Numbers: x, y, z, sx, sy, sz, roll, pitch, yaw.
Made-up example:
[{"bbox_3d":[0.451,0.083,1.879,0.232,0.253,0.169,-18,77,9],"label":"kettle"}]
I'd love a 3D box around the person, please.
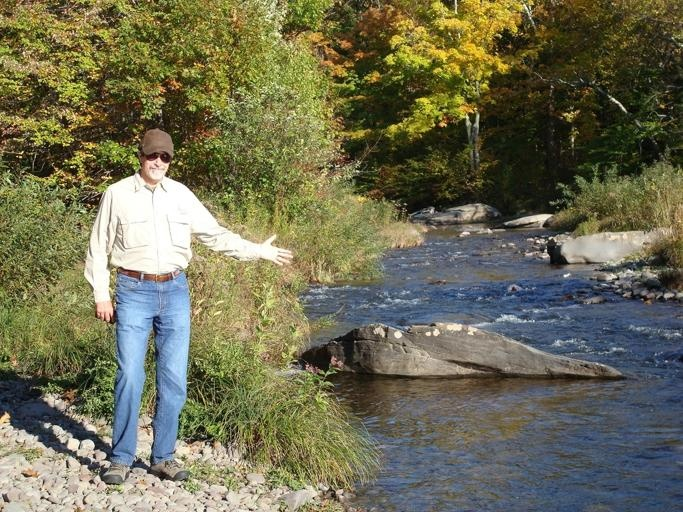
[{"bbox_3d":[-1.719,0.436,6.595,1.617,3.274,0.929,-10,12,-27],"label":"person"}]

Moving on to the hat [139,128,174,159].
[{"bbox_3d":[-1.768,-1.095,6.571,0.243,0.181,0.312,4,11,-23],"label":"hat"}]

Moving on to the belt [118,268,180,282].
[{"bbox_3d":[-1.793,0.172,6.463,0.539,0.148,0.144,-6,10,-17],"label":"belt"}]

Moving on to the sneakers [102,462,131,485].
[{"bbox_3d":[-2.070,1.995,6.302,0.201,0.154,0.272,-4,9,-1],"label":"sneakers"}]

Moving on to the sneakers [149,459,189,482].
[{"bbox_3d":[-1.607,2.023,6.456,0.401,0.156,0.152,1,7,15],"label":"sneakers"}]
